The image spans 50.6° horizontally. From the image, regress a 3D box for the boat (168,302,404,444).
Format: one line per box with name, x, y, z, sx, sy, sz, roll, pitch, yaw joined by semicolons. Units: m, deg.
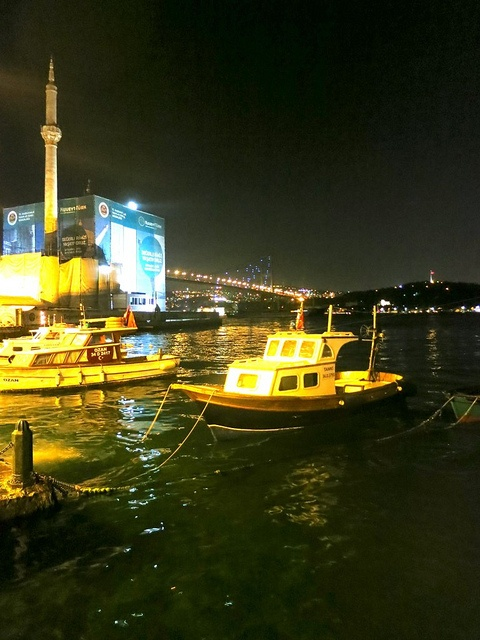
boat;1.462;1.119;12.763;6.450;2.649;2.643;0;-4;-43
